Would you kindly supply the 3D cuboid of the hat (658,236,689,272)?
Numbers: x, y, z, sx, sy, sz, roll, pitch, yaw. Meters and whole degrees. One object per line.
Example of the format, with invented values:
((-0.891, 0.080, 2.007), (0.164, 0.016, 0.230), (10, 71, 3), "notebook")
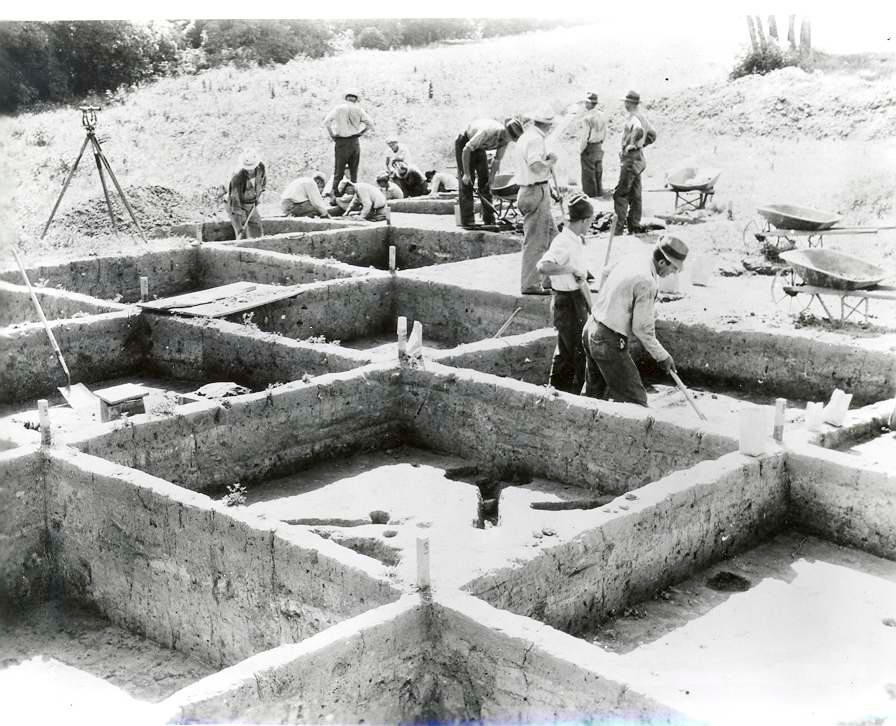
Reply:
((1.638, -0.792, 7.668), (0.209, 0.290, 0.191), (-6, 19, -3), "hat")

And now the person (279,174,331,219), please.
((-2.164, -2.453, 15.722), (0.709, 0.569, 0.360), (-3, 19, 6), "person")

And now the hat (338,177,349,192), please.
((-1.691, -2.872, 16.975), (0.083, 0.218, 0.156), (19, 8, -7), "hat")

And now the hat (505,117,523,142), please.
((0.762, -2.585, 11.820), (0.108, 0.305, 0.252), (-11, 33, -2), "hat")

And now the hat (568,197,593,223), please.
((1.066, -1.244, 8.497), (0.198, 0.227, 0.224), (-3, 19, 4), "hat")

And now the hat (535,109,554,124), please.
((0.958, -2.443, 10.580), (0.195, 0.193, 0.304), (-2, 19, 6), "hat")

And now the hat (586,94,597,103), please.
((1.969, -3.667, 14.543), (0.127, 0.040, 0.130), (-4, 2, 39), "hat")

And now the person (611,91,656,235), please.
((2.476, -2.663, 14.061), (0.527, 1.899, 1.237), (0, 20, 11), "person")

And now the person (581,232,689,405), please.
((1.381, -0.221, 8.164), (0.673, 1.723, 0.604), (26, 42, 28), "person")

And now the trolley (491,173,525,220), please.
((0.860, -2.201, 14.640), (0.349, 0.400, 0.381), (-8, 1, -13), "trolley")

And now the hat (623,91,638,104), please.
((2.369, -3.421, 13.552), (0.159, 0.084, 0.212), (10, 16, 11), "hat")

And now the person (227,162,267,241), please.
((-2.637, -2.177, 13.955), (0.536, 1.145, 0.904), (-8, 20, -10), "person")

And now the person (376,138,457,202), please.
((-0.597, -3.520, 18.869), (1.283, 1.012, 1.972), (-5, 19, -2), "person")
